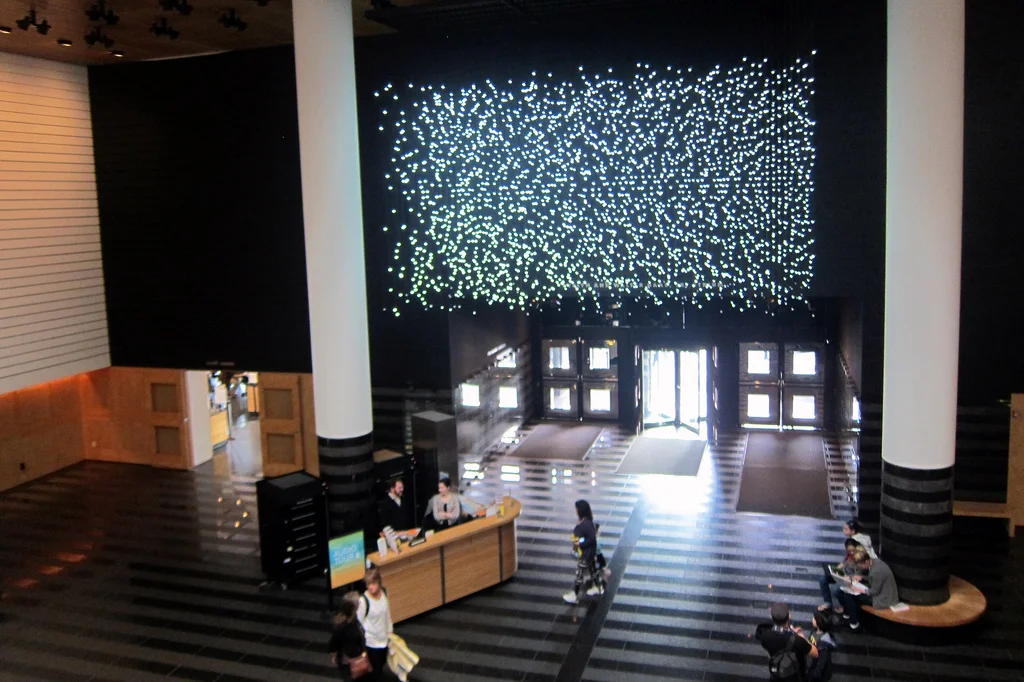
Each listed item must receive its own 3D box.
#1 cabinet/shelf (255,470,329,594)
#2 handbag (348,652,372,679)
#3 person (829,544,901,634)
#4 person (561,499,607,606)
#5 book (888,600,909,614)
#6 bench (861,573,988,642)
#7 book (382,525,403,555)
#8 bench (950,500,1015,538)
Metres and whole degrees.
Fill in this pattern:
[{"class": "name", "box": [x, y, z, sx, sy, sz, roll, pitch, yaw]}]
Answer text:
[{"class": "cabinet/shelf", "box": [-3.477, 2.964, 12.062, 0.958, 1.685, 1.004, -8, 12, -38]}, {"class": "handbag", "box": [-1.778, 3.777, 8.966, 0.302, 0.217, 0.107, -24, 19, -26]}, {"class": "person", "box": [4.851, 3.307, 10.334, 0.712, 1.002, 0.440, -8, 1, 31]}, {"class": "person", "box": [1.051, 2.951, 11.109, 0.566, 1.436, 0.793, 2, 15, 16]}, {"class": "book", "box": [5.120, 3.531, 10.174, 0.141, 0.043, 0.142, -3, 11, -3]}, {"class": "bench", "box": [5.637, 3.659, 10.660, 1.550, 0.379, 1.497, -13, 13, -38]}, {"class": "book", "box": [-1.616, 2.716, 10.517, 0.203, 0.344, 0.089, -17, 5, 29]}, {"class": "bench", "box": [7.556, 2.858, 12.345, 0.900, 0.554, 0.292, 7, 23, 26]}]
